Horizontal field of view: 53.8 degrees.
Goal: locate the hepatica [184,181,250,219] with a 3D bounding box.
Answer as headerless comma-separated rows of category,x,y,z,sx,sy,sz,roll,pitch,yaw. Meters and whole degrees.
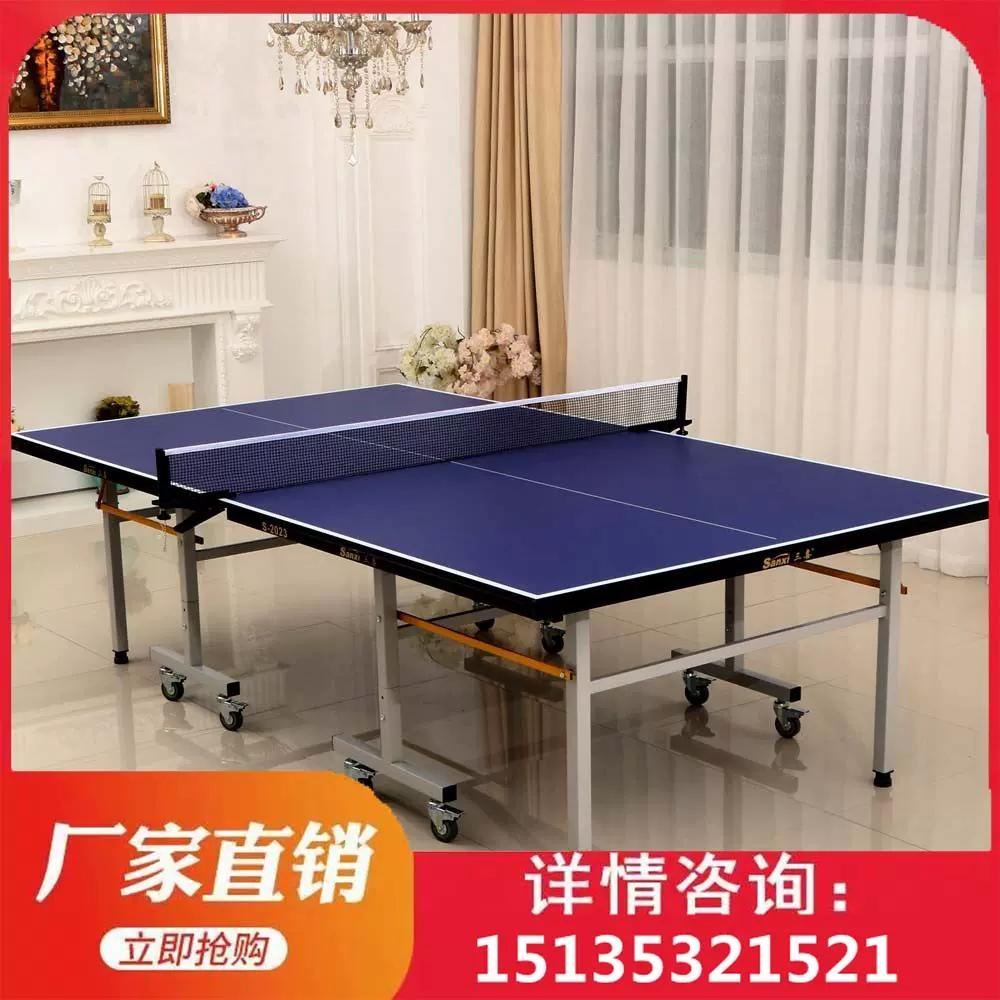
hepatica,-1.678,-1.754,5.745,0.257,0.096,0.254,15,17,31

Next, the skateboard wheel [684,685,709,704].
skateboard wheel,0.624,0.603,3.148,0.066,0.062,0.069,2,11,0

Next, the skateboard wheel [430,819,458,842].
skateboard wheel,-0.131,0.780,2.333,0.052,0.050,0.020,-26,-15,38

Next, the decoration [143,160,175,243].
decoration,-1.943,-1.694,5.596,0.156,0.476,0.337,-4,11,-18

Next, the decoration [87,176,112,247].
decoration,-2.212,-1.608,5.467,0.143,0.356,0.133,-3,13,-26

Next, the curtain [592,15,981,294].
curtain,1.313,-1.814,4.866,0.297,1.574,2.198,-8,12,-33

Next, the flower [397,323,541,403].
flower,-0.175,-0.761,5.955,0.760,0.441,0.559,0,21,-6

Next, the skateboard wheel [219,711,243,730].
skateboard wheel,-0.815,0.668,3.000,0.056,0.053,0.019,14,11,33

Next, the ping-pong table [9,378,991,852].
ping-pong table,-0.037,0.207,2.890,1.617,1.024,2.275,-9,13,-41

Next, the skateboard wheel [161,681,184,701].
skateboard wheel,-1.076,0.626,3.244,0.058,0.055,0.023,17,14,30
